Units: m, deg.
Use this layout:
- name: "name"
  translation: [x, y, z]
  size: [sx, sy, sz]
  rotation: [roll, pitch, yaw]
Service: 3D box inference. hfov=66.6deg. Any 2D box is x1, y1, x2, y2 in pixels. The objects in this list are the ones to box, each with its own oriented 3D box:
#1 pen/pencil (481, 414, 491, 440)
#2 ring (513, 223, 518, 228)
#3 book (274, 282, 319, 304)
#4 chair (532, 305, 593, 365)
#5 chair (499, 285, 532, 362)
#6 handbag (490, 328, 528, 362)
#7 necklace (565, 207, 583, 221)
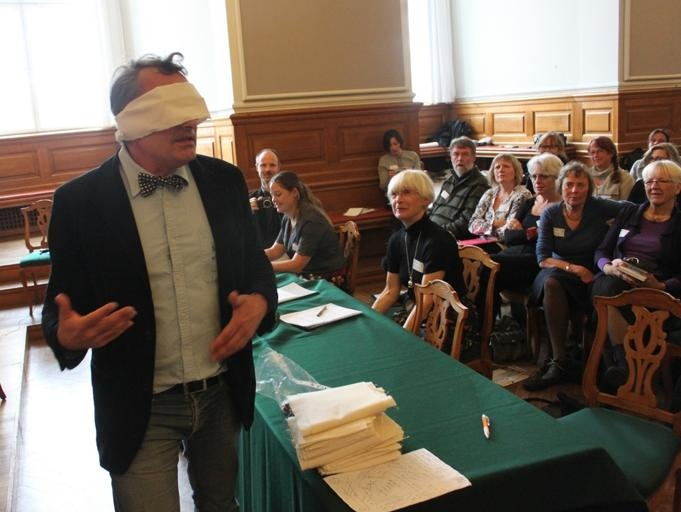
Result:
- name: "pen/pencil"
  translation: [0.456, 0.537, 1.626]
  size: [0.023, 0.005, 0.092]
  rotation: [0, 14, 7]
- name: "ring"
  translation: [1.482, -0.261, 4.380]
  size: [0.023, 0.016, 0.048]
  rotation: [-28, -26, 37]
- name: "book"
  translation: [-0.283, 0.213, 3.006]
  size: [0.175, 0.024, 0.160]
  rotation: [7, 15, 42]
- name: "chair"
  translation: [1.604, 0.578, 3.678]
  size: [0.380, 0.387, 0.485]
  rotation: [-2, 7, -18]
- name: "chair"
  translation: [1.313, 0.505, 3.865]
  size: [0.206, 0.453, 0.475]
  rotation: [4, 8, 39]
- name: "handbag"
  translation: [1.228, 0.652, 3.743]
  size: [0.282, 0.214, 0.201]
  rotation: [-4, -1, -31]
- name: "necklace"
  translation: [1.663, -0.304, 3.692]
  size: [0.094, 0.092, 0.083]
  rotation: [2, 1, -3]
